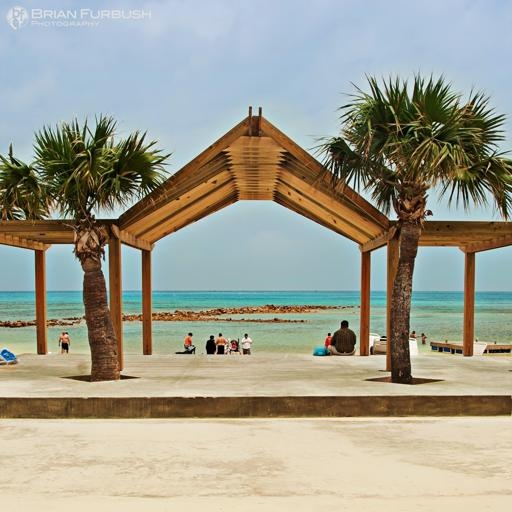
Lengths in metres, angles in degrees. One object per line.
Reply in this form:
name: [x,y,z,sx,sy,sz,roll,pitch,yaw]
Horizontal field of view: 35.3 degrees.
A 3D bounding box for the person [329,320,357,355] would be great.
person: [1.937,1.831,17.883,0.625,1.098,0.714,2,4,4]
